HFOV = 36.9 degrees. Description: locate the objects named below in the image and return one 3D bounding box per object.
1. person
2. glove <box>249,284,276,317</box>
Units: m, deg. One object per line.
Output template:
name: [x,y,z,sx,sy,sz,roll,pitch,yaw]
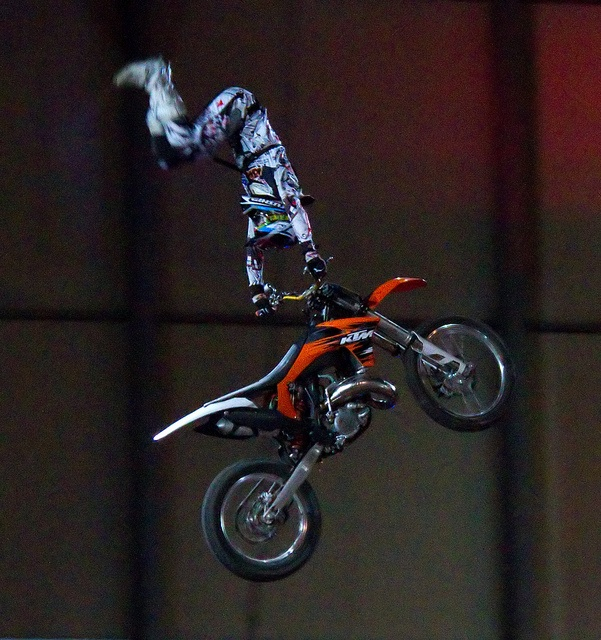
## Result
person: [-0.425,-0.926,4.396,0.592,0.875,0.304,19,-47,5]
glove: [-0.181,-0.078,4.365,0.099,0.158,0.066,-16,-8,-16]
